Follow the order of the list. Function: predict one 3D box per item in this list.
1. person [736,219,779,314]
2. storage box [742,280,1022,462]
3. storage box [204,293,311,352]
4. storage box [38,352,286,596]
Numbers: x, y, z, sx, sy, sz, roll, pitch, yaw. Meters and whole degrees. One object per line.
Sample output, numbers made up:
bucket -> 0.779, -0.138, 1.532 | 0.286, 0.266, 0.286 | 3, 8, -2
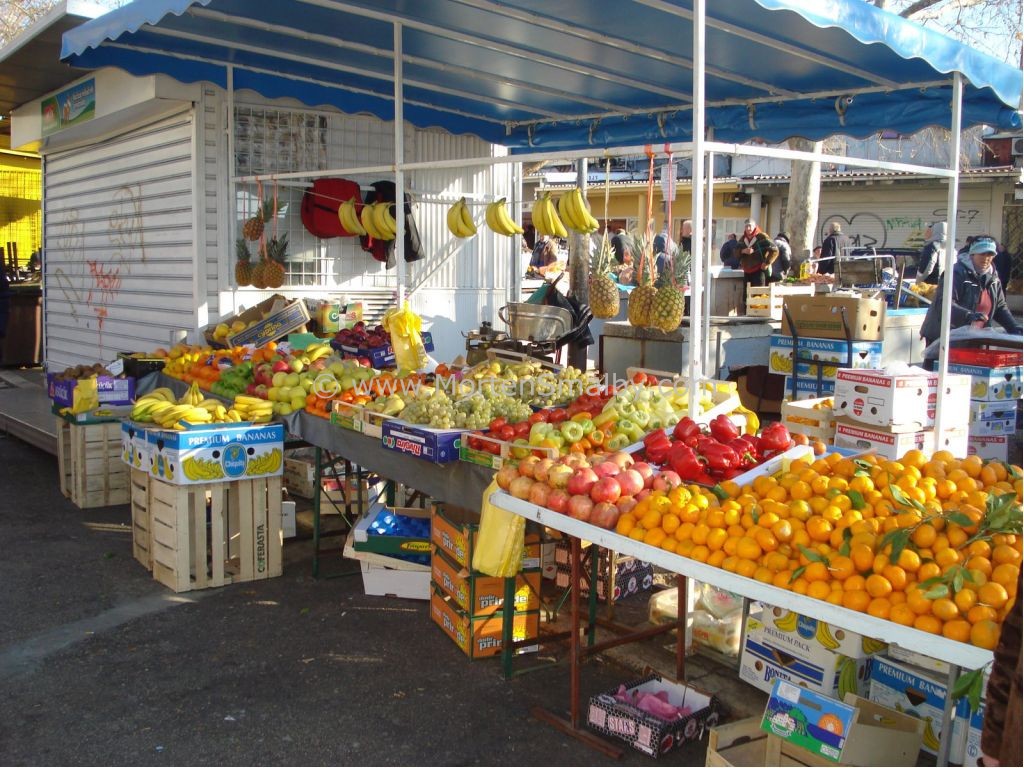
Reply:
person -> 3.437, -1.645, 12.372 | 0.592, 1.319, 0.327 | 4, 5, 44
storage box -> 3.620, 0.495, 8.904 | 1.491, 2.083, 2.793 | -1, 4, -37
storage box -> -2.562, -0.625, 8.640 | 0.966, 0.614, 0.654 | -11, 19, -44
storage box -> -2.561, 0.743, 6.645 | 1.097, 1.534, 1.956 | -7, 14, -36
